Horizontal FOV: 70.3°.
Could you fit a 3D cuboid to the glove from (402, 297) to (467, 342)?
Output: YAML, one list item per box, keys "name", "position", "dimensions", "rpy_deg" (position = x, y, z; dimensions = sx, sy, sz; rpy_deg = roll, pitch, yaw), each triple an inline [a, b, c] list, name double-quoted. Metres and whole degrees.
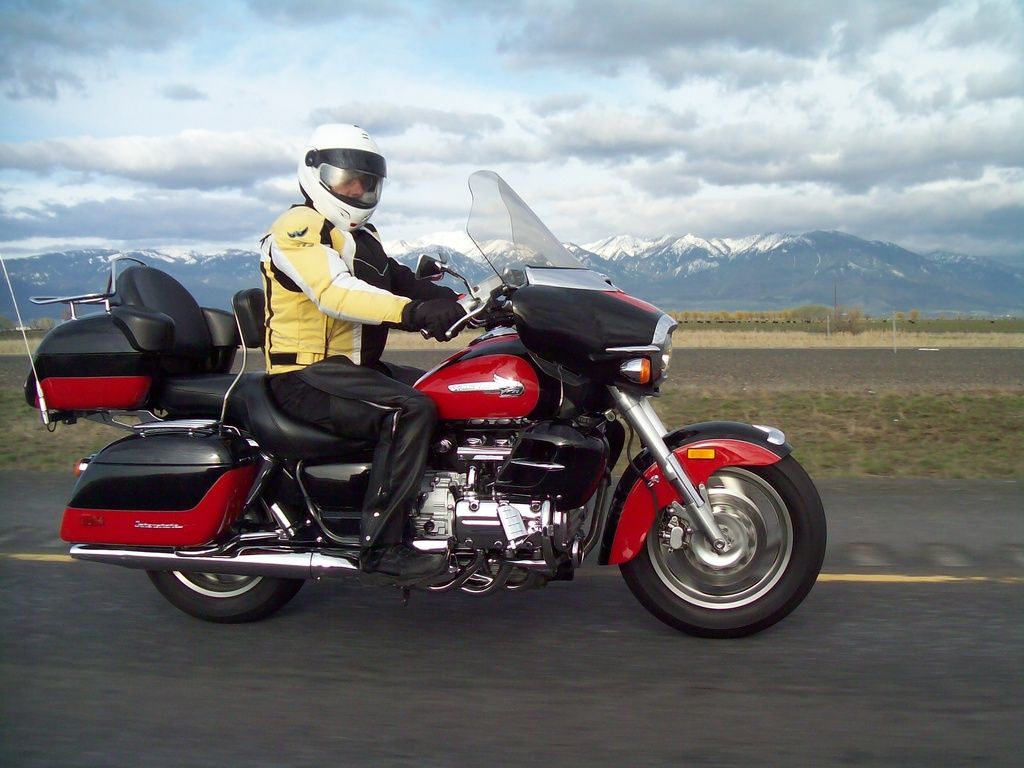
- name: "glove"
  position: [-0.434, -0.372, 4.128]
  dimensions: [0.357, 0.132, 0.224]
  rpy_deg: [0, 38, 4]
